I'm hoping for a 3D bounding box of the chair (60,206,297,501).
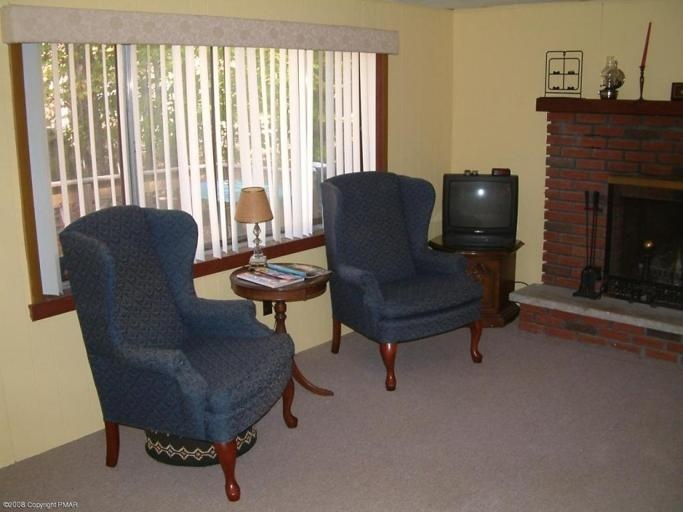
[{"bbox_3d":[-0.875,0.472,3.221,1.039,1.435,0.797,8,18,28],"label":"chair"}]

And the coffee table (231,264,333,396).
[{"bbox_3d":[-0.244,0.472,4.130,0.915,0.953,0.815,1,25,1],"label":"coffee table"}]

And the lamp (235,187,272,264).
[{"bbox_3d":[-0.574,-0.182,3.839,0.245,0.493,0.241,-13,12,-35],"label":"lamp"}]

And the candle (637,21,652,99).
[{"bbox_3d":[2.378,-1.539,4.459,0.057,0.593,0.384,7,17,26],"label":"candle"}]

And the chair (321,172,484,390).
[{"bbox_3d":[0.455,0.100,4.385,1.035,1.404,0.948,-9,18,-28],"label":"chair"}]
